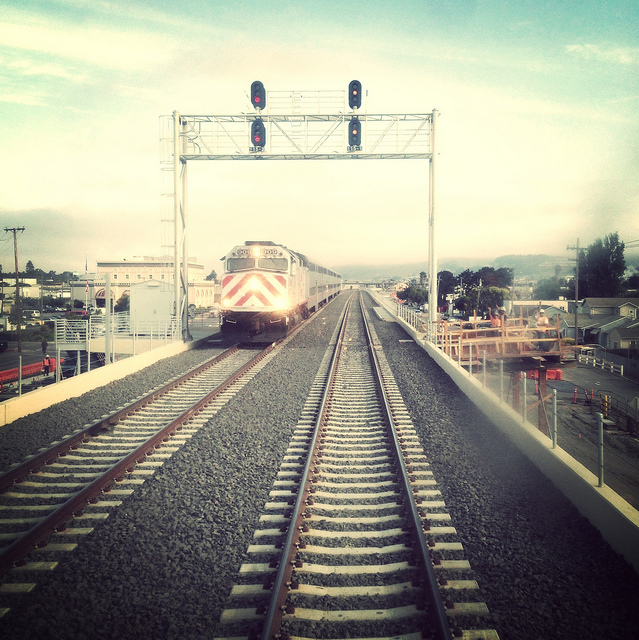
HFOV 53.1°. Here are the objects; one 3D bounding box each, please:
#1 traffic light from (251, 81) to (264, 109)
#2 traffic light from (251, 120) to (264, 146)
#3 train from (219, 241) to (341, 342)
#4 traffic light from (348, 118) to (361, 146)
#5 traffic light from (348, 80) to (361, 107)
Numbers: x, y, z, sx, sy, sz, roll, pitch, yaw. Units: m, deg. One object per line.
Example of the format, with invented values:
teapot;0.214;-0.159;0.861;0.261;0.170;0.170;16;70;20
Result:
traffic light;-1.665;-6.054;17.295;0.314;0.659;0.293;-2;11;-7
traffic light;-1.694;-5.125;17.593;0.319;0.650;0.138;-1;10;-2
train;-1.462;-1.400;26.846;2.113;3.101;15.332;0;5;3
traffic light;0.975;-5.254;17.972;0.280;0.732;0.118;-1;10;-3
traffic light;0.946;-6.132;17.496;0.278;0.682;0.213;0;11;5
